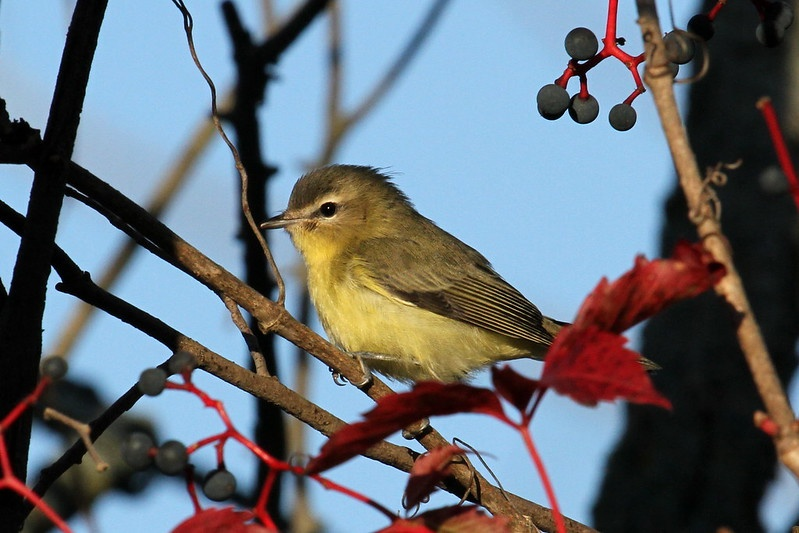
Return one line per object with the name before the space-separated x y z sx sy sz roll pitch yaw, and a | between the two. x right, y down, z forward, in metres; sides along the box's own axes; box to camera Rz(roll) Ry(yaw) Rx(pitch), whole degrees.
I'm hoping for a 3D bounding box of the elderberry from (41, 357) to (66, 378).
elderberry | -1.341 0.396 5.072 0.081 0.048 0.082 -38 -93 -18
